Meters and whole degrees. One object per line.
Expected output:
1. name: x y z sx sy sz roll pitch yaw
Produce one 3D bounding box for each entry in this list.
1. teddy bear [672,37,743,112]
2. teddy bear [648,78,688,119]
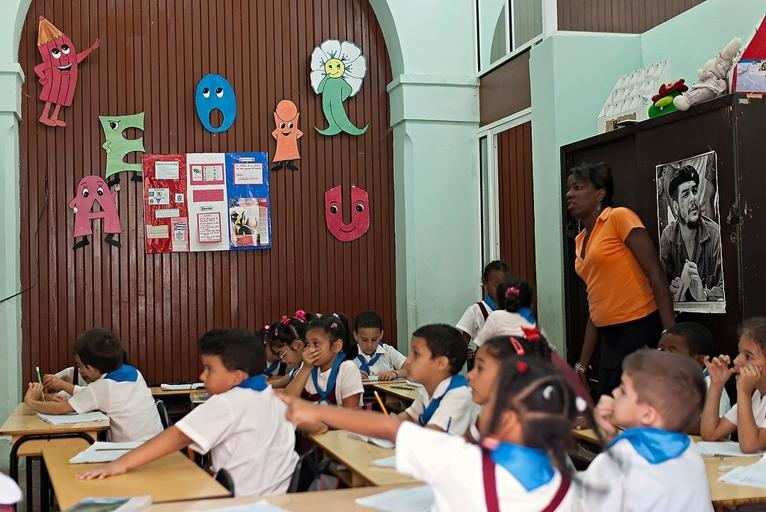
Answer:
1. teddy bear: 1.949 -1.065 4.134 0.439 0.298 0.716 -32 3 29
2. teddy bear: 1.705 -0.939 4.210 0.214 0.221 0.227 -8 -3 6
